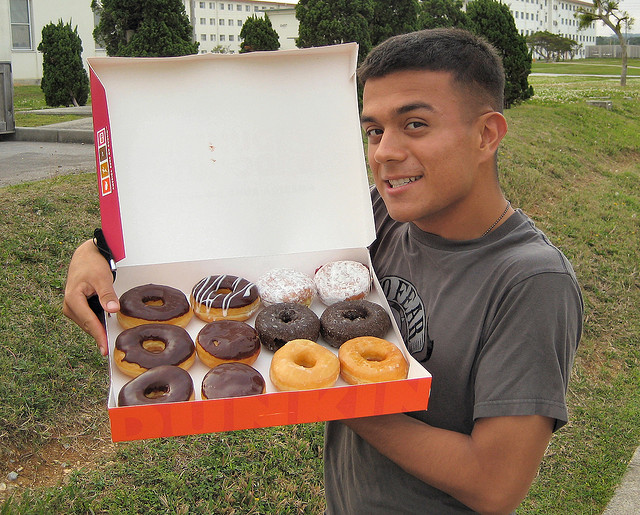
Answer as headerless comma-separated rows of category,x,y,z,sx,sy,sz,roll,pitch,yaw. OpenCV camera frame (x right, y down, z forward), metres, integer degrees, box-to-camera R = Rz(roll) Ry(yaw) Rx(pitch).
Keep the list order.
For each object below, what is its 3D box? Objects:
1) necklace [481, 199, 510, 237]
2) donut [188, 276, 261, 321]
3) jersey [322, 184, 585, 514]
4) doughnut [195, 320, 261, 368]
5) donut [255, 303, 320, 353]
necklace,0.777,-0.164,2.287,0.156,0.008,0.116,-53,12,-12
donut,-0.536,0.230,2.901,0.363,0.156,0.414,14,18,6
jersey,0.557,0.591,2.418,1.139,1.570,0.791,11,21,34
doughnut,-0.440,0.413,2.482,0.211,0.091,0.225,1,31,-2
donut,-0.174,0.361,2.700,0.343,0.151,0.374,8,23,7
